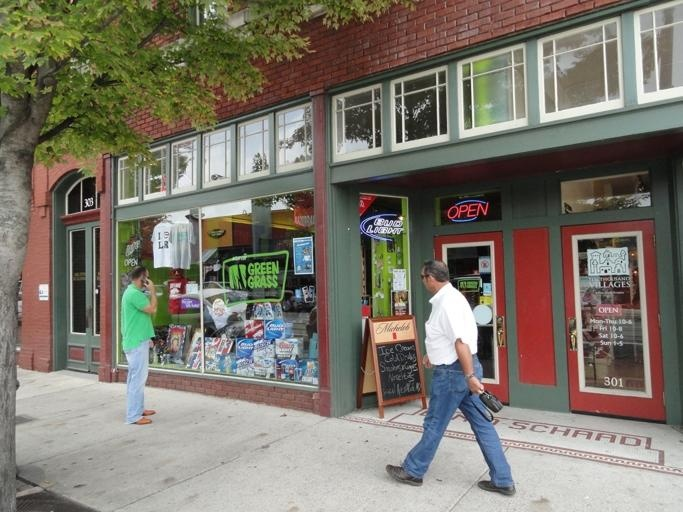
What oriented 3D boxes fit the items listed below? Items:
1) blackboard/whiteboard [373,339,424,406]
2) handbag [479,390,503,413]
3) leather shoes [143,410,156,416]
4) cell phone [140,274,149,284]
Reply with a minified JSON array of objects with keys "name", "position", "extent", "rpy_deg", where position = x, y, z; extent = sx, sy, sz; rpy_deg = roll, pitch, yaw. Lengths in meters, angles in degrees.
[{"name":"blackboard/whiteboard","position":[0.811,1.662,8.159],"extent":[0.884,1.100,0.048],"rpy_deg":[-6,-2,-29]},{"name":"handbag","position":[1.553,1.528,5.843],"extent":[0.266,0.149,0.120],"rpy_deg":[36,-25,7]},{"name":"leather shoes","position":[-2.887,2.367,8.520],"extent":[0.175,0.074,0.060],"rpy_deg":[-3,5,-13]},{"name":"cell phone","position":[-2.982,0.357,8.599],"extent":[0.079,0.097,0.109],"rpy_deg":[40,-10,33]}]
